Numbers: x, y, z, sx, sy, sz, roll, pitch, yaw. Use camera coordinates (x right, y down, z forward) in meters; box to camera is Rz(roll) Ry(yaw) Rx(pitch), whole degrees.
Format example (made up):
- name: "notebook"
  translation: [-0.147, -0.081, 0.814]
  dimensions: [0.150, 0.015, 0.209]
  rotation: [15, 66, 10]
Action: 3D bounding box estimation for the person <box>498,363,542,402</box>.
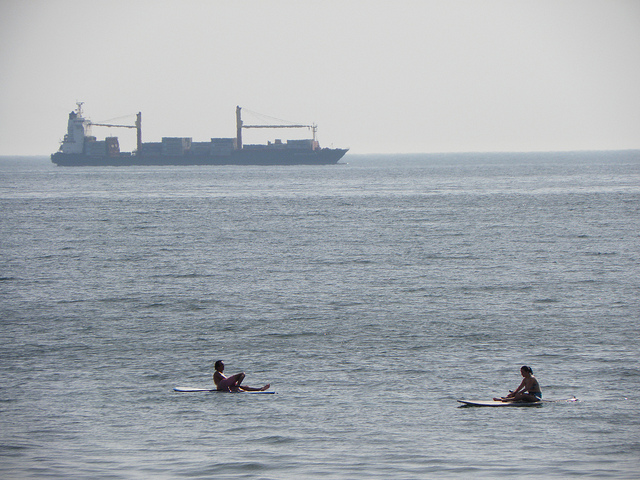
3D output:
- name: "person"
  translation: [10.418, 7.399, 81.490]
  dimensions: [1.703, 1.795, 0.850]
  rotation: [0, 12, 6]
